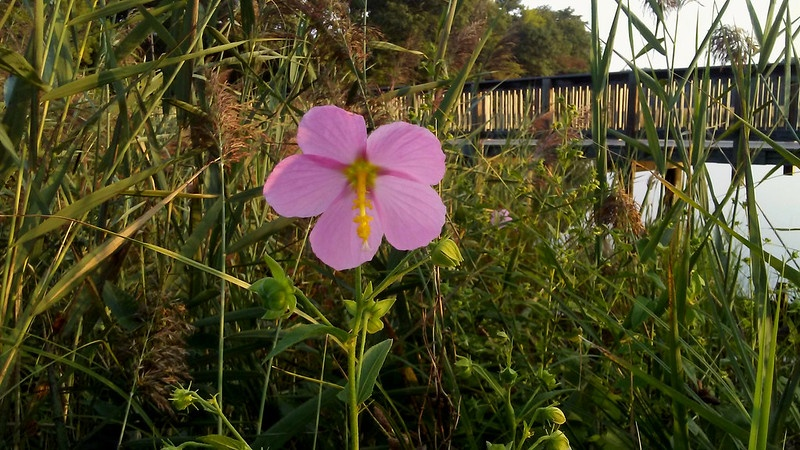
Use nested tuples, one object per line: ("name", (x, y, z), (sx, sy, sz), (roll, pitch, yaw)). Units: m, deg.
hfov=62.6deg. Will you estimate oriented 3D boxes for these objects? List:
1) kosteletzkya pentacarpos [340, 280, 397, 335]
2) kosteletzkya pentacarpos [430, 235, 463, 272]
("kosteletzkya pentacarpos", (-0.092, 0.184, 1.571), (0.165, 0.074, 0.159), (-10, 14, 46))
("kosteletzkya pentacarpos", (0.118, 0.071, 1.655), (0.081, 0.069, 0.043), (29, 28, -12))
